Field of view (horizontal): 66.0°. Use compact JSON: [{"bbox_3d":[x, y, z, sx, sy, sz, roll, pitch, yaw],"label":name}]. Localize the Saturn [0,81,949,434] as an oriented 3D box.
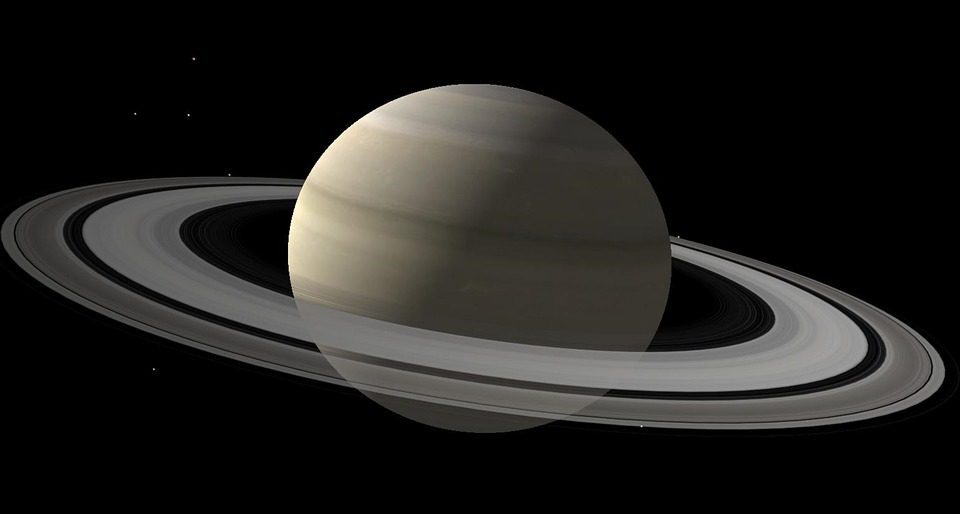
[{"bbox_3d":[-0.862,-0.395,15.758,10.608,3.949,9.673,12,14,-15],"label":"Saturn"}]
